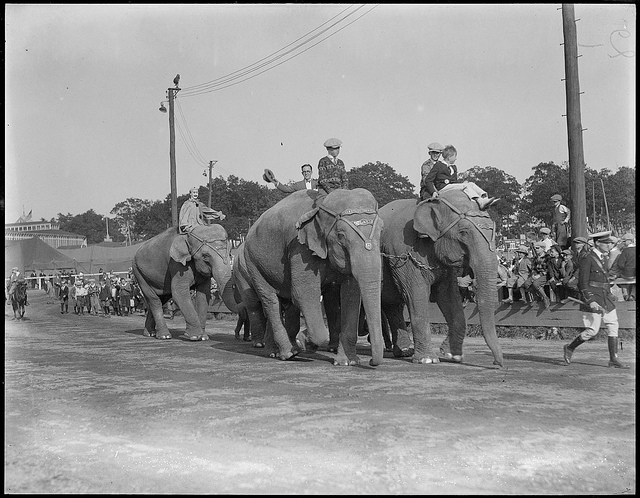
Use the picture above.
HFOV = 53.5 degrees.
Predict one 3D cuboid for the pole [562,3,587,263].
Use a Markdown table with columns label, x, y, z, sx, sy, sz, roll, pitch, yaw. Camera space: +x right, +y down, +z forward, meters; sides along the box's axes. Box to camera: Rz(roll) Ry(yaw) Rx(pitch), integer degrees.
| label | x | y | z | sx | sy | sz | roll | pitch | yaw |
| --- | --- | --- | --- | --- | --- | --- | --- | --- | --- |
| pole | 6.144 | -3.126 | 15.508 | 0.399 | 5.688 | 0.730 | -4 | -5 | 22 |

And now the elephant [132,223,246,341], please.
| label | x | y | z | sx | sy | sz | roll | pitch | yaw |
| --- | --- | --- | --- | --- | --- | --- | --- | --- | --- |
| elephant | -3.269 | 0.753 | 15.802 | 3.712 | 2.934 | 1.420 | -2 | 3 | 34 |

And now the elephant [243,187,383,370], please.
| label | x | y | z | sx | sy | sz | roll | pitch | yaw |
| --- | --- | --- | --- | --- | --- | --- | --- | --- | --- |
| elephant | -0.142 | 0.451 | 10.735 | 1.521 | 2.964 | 3.278 | -2 | 2 | -40 |

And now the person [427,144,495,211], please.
| label | x | y | z | sx | sy | sz | roll | pitch | yaw |
| --- | --- | --- | --- | --- | --- | --- | --- | --- | --- |
| person | 2.442 | -1.169 | 10.914 | 0.990 | 0.909 | 0.491 | 11 | 11 | 23 |

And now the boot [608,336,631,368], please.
| label | x | y | z | sx | sy | sz | roll | pitch | yaw |
| --- | --- | --- | --- | --- | --- | --- | --- | --- | --- |
| boot | 4.686 | 1.608 | 10.007 | 0.303 | 0.476 | 0.481 | -4 | -5 | 24 |

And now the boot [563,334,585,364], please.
| label | x | y | z | sx | sy | sz | roll | pitch | yaw |
| --- | --- | --- | --- | --- | --- | --- | --- | --- | --- |
| boot | 4.077 | 1.571 | 10.306 | 0.255 | 0.626 | 0.206 | 23 | 30 | 31 |

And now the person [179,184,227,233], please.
| label | x | y | z | sx | sy | sz | roll | pitch | yaw |
| --- | --- | --- | --- | --- | --- | --- | --- | --- | --- |
| person | -2.929 | -0.919 | 15.745 | 1.110 | 1.223 | 0.599 | -2 | -3 | -10 |

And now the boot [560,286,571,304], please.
| label | x | y | z | sx | sy | sz | roll | pitch | yaw |
| --- | --- | --- | --- | --- | --- | --- | --- | --- | --- |
| boot | 5.530 | 1.036 | 14.364 | 0.317 | 0.381 | 0.330 | 3 | -7 | -7 |

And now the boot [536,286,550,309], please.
| label | x | y | z | sx | sy | sz | roll | pitch | yaw |
| --- | --- | --- | --- | --- | --- | --- | --- | --- | --- |
| boot | 5.152 | 1.092 | 14.594 | 0.210 | 0.464 | 0.162 | -12 | -12 | -46 |

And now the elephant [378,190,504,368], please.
| label | x | y | z | sx | sy | sz | roll | pitch | yaw |
| --- | --- | --- | --- | --- | --- | --- | --- | --- | --- |
| elephant | 1.872 | 0.532 | 11.211 | 1.374 | 2.896 | 3.425 | 2 | -6 | -28 |

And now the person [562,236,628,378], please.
| label | x | y | z | sx | sy | sz | roll | pitch | yaw |
| --- | --- | --- | --- | --- | --- | --- | --- | --- | --- |
| person | 4.468 | 0.821 | 10.344 | 0.932 | 2.127 | 0.717 | -2 | -5 | 3 |

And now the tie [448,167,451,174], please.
| label | x | y | z | sx | sy | sz | roll | pitch | yaw |
| --- | --- | --- | --- | --- | --- | --- | --- | --- | --- |
| tie | 2.291 | -1.411 | 11.310 | 0.090 | 0.128 | 0.037 | 5 | -6 | -25 |
